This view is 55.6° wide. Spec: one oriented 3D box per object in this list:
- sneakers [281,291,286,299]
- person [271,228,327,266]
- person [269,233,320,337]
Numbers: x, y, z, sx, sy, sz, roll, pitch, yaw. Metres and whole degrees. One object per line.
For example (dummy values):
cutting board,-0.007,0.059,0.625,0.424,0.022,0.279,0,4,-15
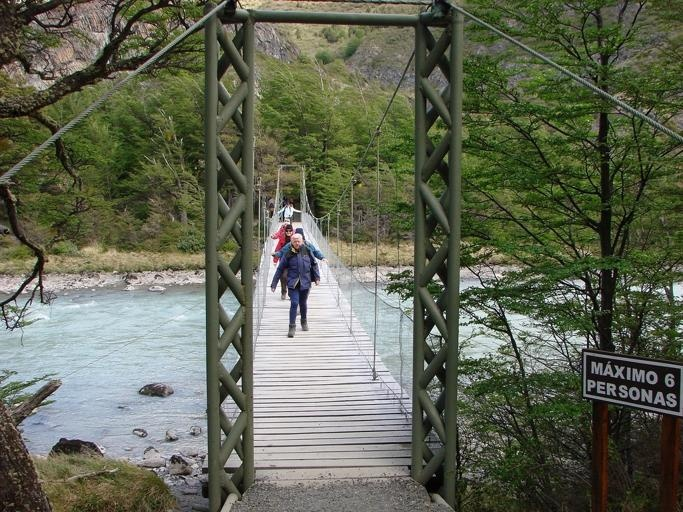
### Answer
sneakers,-1.073,0.721,11.903,0.099,0.158,0.111,0,4,-2
person,-0.641,-0.071,9.093,0.898,0.549,0.228,0,35,-2
person,-0.619,0.384,8.838,0.609,1.366,0.609,-3,4,-31
